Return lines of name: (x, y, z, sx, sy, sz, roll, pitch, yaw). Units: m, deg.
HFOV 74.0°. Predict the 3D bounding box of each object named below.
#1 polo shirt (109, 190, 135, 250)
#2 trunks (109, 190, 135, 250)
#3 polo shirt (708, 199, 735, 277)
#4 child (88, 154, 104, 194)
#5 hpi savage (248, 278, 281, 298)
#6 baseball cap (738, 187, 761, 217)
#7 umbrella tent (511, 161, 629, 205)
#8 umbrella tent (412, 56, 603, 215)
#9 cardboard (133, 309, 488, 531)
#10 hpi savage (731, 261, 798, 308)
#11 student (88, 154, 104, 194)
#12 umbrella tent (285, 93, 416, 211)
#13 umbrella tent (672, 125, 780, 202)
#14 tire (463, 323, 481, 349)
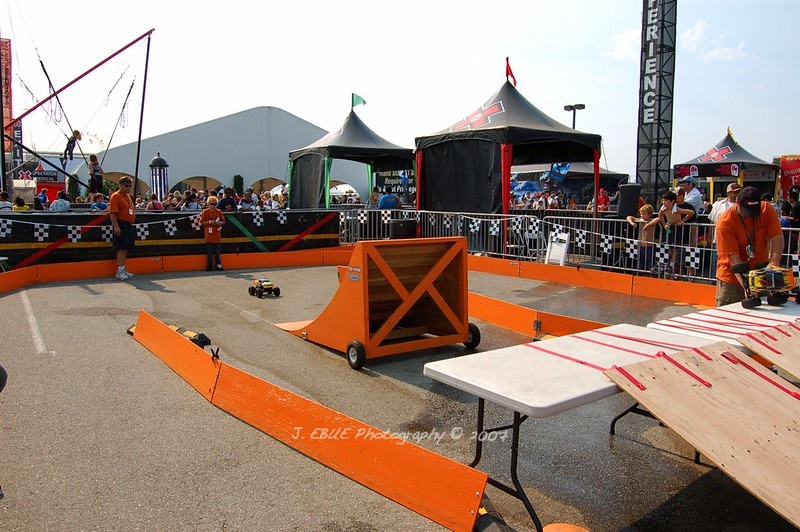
polo shirt: (-6.610, -1.062, 12.649, 0.499, 1.392, 0.395, -8, 14, -35)
trunks: (-6.610, -1.062, 12.649, 0.499, 1.392, 0.395, -8, 14, -35)
polo shirt: (6.713, -0.516, 11.180, 0.320, 1.444, 0.588, 0, 5, 40)
child: (-10.552, -3.139, 18.416, 0.365, 1.390, 1.822, -7, 15, -30)
hpi savage: (-2.919, 0.480, 11.246, 0.400, 0.317, 0.518, -3, 10, -36)
baseball cap: (4.352, -0.786, 6.582, 0.223, 0.396, 0.208, -2, -28, 14)
umbrella tent: (7.857, -3.996, 26.024, 4.195, 2.465, 4.223, -5, 13, -25)
umbrella tent: (3.576, -4.057, 18.344, 5.305, 4.489, 5.371, 1, 7, -30)
cardboard: (-0.913, 1.621, 5.542, 0.424, 0.418, 4.377, 12, 7, -42)
hpi savage: (4.428, 0.236, 6.503, 0.626, 0.494, 0.633, -11, 17, -41)
student: (-10.568, -3.145, 18.443, 0.365, 1.390, 1.885, -7, 15, -30)
umbrella tent: (-2.103, -4.959, 22.329, 4.565, 4.988, 4.766, -5, 10, -26)
umbrella tent: (15.893, -5.137, 25.835, 4.493, 2.884, 4.902, -1, 9, 5)
tire: (1.024, 1.033, 7.683, 0.121, 0.348, 0.320, -10, 9, -17)
